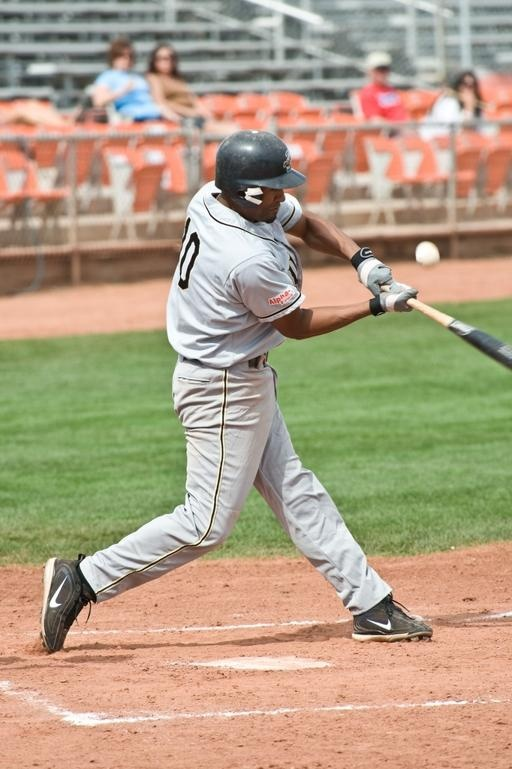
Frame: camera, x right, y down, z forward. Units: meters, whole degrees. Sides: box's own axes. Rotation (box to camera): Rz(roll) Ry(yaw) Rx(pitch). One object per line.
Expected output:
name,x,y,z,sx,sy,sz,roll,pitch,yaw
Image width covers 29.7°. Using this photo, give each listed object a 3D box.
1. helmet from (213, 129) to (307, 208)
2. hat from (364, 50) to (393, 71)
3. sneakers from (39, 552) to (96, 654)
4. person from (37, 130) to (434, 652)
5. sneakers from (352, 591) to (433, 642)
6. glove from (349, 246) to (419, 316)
helmet,0.022,-0.635,2.719,0.281,0.134,0.184,8,37,8
hat,0.852,-2.256,6.674,0.180,0.101,0.134,0,6,6
sneakers,-0.541,0.625,2.857,0.193,0.298,0.113,7,-1,2
person,-0.067,0.035,2.791,1.064,1.528,0.482,-3,8,-23
sneakers,0.404,0.713,2.941,0.305,0.133,0.102,1,-5,3
glove,0.375,-0.298,2.841,0.164,0.076,0.252,-34,36,-6
